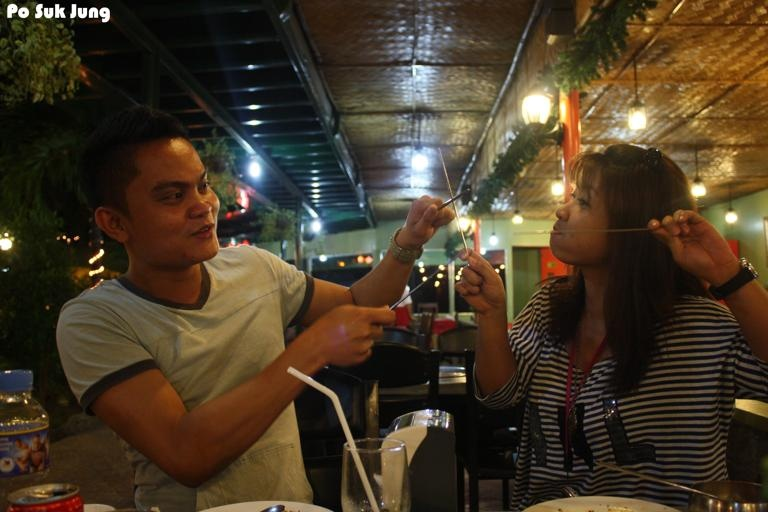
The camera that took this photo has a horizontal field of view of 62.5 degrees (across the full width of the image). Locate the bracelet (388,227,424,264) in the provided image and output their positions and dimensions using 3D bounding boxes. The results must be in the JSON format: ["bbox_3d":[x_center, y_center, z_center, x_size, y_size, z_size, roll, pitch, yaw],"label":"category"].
[{"bbox_3d":[0.104,-0.040,3.131,0.145,0.167,0.080,0,-9,-8],"label":"bracelet"}]

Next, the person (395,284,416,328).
[{"bbox_3d":[0.270,0.763,9.256,0.241,0.785,0.185,14,39,13],"label":"person"}]

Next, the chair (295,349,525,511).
[{"bbox_3d":[0.227,1.084,4.319,1.260,1.711,0.966,-3,0,5],"label":"chair"}]

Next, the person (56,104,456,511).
[{"bbox_3d":[-0.641,0.153,2.839,1.384,1.563,0.717,1,1,2],"label":"person"}]
